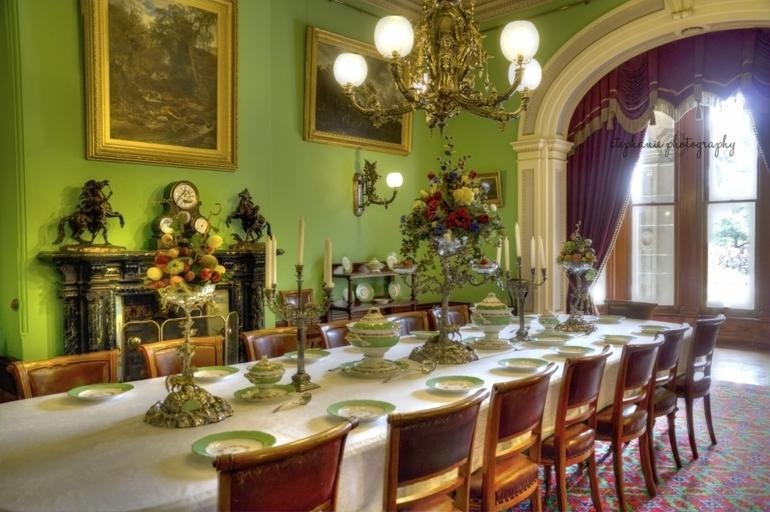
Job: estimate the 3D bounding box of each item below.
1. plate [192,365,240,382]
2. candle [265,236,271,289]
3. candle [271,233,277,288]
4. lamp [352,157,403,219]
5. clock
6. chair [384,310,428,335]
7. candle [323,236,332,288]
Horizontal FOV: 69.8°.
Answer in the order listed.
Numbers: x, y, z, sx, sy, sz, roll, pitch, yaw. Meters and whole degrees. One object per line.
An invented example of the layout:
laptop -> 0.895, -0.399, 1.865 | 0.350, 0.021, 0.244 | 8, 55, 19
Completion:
plate -> -1.066, 0.744, 3.460 | 0.170, 0.018, 0.169 | -1, 5, -40
candle -> -0.655, 0.044, 3.091 | 0.042, 0.280, 0.110 | -4, 0, -12
candle -> -0.642, 0.034, 3.150 | 0.031, 0.271, 0.169 | -4, 0, -11
lamp -> -0.032, -0.897, 7.076 | 0.643, 0.732, 0.524 | -4, -1, -38
clock -> -2.008, -0.427, 5.515 | 0.680, 0.657, 0.272 | -4, 0, -22
chair -> 0.191, 0.571, 4.839 | 0.243, 0.391, 0.284 | 1, -1, -36
candle -> -0.332, 0.046, 3.142 | 0.037, 0.272, 0.080 | -4, 0, -23
